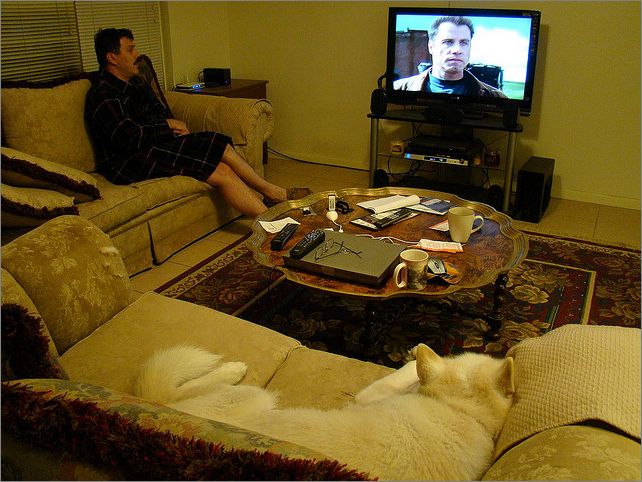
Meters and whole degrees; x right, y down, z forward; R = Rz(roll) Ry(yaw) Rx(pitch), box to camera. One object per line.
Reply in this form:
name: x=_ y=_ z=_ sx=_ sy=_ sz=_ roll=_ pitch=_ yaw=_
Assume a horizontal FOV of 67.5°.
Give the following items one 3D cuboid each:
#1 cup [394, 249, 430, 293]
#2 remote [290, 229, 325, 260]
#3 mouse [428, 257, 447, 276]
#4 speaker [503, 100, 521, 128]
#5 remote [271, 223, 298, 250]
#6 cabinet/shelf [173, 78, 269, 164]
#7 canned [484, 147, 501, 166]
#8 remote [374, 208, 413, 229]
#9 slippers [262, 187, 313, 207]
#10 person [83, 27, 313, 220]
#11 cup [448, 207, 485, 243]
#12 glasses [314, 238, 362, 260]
cup: x=0.359 y=0.097 z=1.900 sx=0.106 sy=0.133 sz=0.176 roll=24 pitch=43 yaw=38
remote: x=-0.051 y=0.016 z=2.064 sx=0.063 sy=0.051 sz=0.221 roll=16 pitch=33 yaw=24
mouse: x=0.472 y=0.097 z=1.920 sx=0.048 sy=0.020 sz=0.075 roll=-10 pitch=27 yaw=-20
speaker: x=1.402 y=-0.904 z=3.512 sx=0.104 sy=0.189 sz=0.080 roll=-4 pitch=13 yaw=14
remote: x=-0.160 y=-0.029 z=2.186 sx=0.053 sy=0.041 sz=0.180 roll=13 pitch=33 yaw=16
cabinet/shelf: x=-0.751 y=-0.868 z=3.536 sx=0.733 sy=0.527 sz=0.411 roll=30 pitch=46 yaw=34
canned: x=1.360 y=-0.650 z=3.845 sx=0.144 sy=0.158 sz=0.149 roll=2 pitch=38 yaw=23
remote: x=0.371 y=-0.123 z=2.403 sx=0.076 sy=0.040 sz=0.281 roll=22 pitch=33 yaw=35
slippers: x=-0.236 y=-0.292 z=3.328 sx=0.367 sy=0.099 sz=0.148 roll=-10 pitch=38 yaw=8
person: x=-0.815 y=-0.734 z=3.172 sx=1.447 sy=0.914 sz=0.615 roll=17 pitch=30 yaw=13
cup: x=0.636 y=-0.074 z=2.194 sx=0.169 sy=0.144 sz=0.108 roll=-6 pitch=21 yaw=-9
glasses: x=0.061 y=0.041 z=2.006 sx=0.107 sy=0.033 sz=0.105 roll=17 pitch=31 yaw=34
